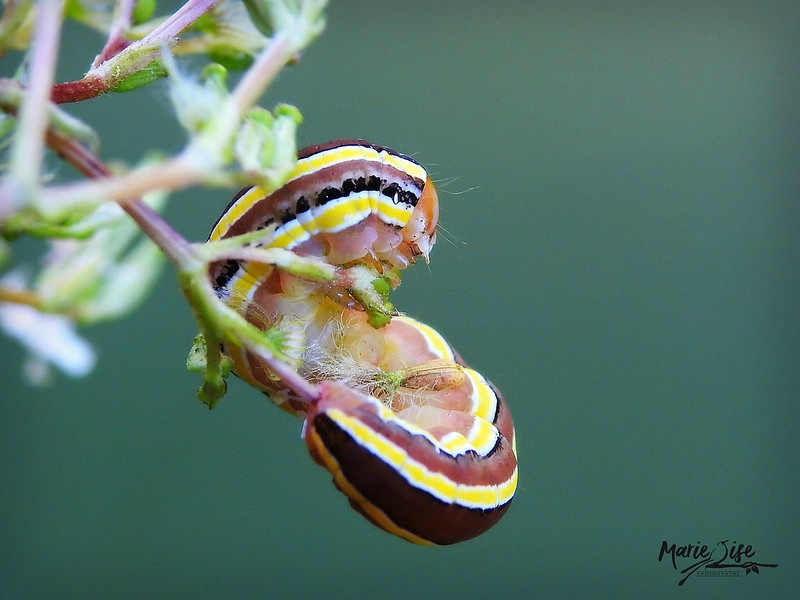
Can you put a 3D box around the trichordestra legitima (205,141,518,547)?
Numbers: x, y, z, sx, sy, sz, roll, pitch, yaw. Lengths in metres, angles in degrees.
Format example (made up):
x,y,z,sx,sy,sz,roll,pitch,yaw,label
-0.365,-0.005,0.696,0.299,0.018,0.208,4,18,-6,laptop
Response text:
x,y,z,sx,sy,sz,roll,pitch,yaw,label
-0.025,0.045,0.969,0.344,0.385,0.229,1,19,-13,trichordestra legitima
